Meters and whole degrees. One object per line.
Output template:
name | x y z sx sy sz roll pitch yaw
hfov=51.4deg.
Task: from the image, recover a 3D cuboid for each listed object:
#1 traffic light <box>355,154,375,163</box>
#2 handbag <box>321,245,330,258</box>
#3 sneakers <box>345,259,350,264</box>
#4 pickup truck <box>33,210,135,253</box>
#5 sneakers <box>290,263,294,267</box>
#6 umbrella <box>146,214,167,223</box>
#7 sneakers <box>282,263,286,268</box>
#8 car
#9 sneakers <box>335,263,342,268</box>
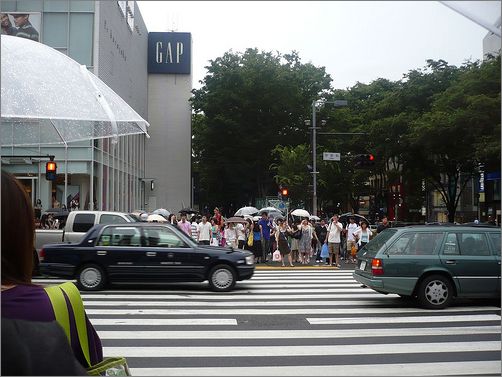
traffic light | 6.259 -1.549 28.560 0.900 0.550 0.416 0 0 23
handbag | 2.864 2.428 20.243 0.287 0.595 0.843 0 0 4
sneakers | 4.008 3.038 21.556 0.119 0.219 0.302 -2 -13 12
pickup truck | -5.559 1.239 17.253 3.146 1.626 1.746 -2 -1 -5
sneakers | 1.589 2.988 20.337 0.110 0.156 0.345 -3 -13 -9
umbrella | -4.382 1.391 23.903 0.706 0.353 1.045 1 -5 -6
sneakers | 1.247 2.949 20.022 0.069 0.146 0.138 -1 2 -38
car | -2.777 1.821 14.123 5.339 1.998 2.202 0 -4 -3
sneakers | 3.370 2.970 19.986 0.204 0.102 0.097 -1 4 -21
